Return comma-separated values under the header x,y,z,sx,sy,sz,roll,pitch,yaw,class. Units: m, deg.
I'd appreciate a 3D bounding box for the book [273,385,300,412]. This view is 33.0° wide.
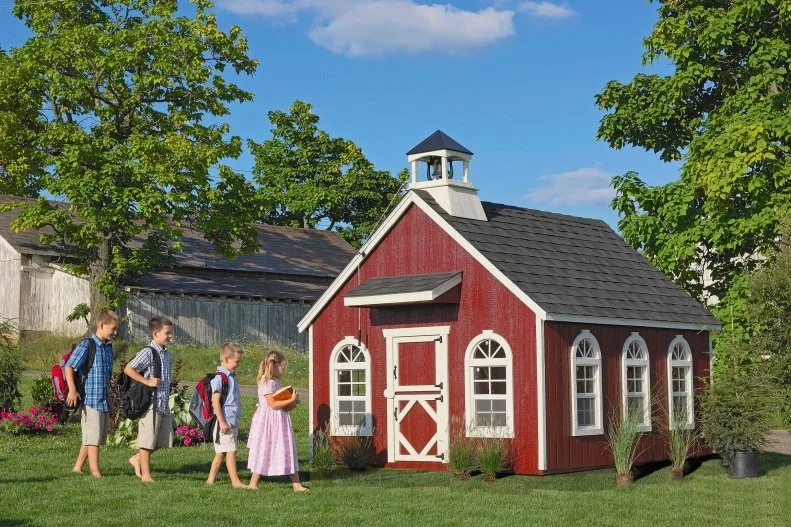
x,y,z,sx,sy,sz,roll,pitch,yaw,class
-2.777,3.283,33.456,0.606,0.624,0.161,-9,7,5,book

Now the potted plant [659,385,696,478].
x,y,z,sx,sy,sz,roll,pitch,yaw,class
8.203,4.861,38.411,0.898,2.036,3.399,-4,-2,13,potted plant
